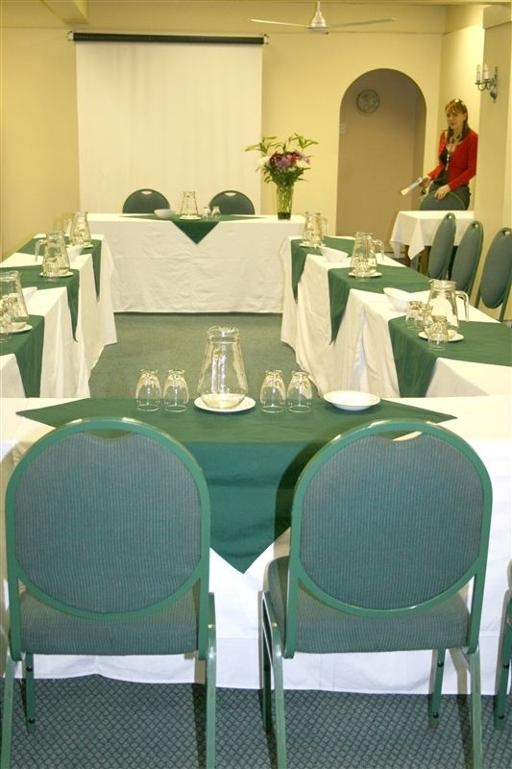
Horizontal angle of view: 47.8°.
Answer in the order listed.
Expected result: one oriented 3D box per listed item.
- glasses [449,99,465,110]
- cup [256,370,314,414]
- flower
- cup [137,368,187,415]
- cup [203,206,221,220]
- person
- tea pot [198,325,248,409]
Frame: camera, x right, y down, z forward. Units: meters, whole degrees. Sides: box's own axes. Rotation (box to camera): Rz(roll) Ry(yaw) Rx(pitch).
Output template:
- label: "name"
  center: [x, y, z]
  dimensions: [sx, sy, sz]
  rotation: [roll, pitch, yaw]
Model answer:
- label: "glasses"
  center: [2.150, -2.960, 6.156]
  dimensions: [0.119, 0.188, 0.183]
  rotation: [2, 18, 6]
- label: "cup"
  center: [0.079, 0.017, 1.479]
  dimensions: [0.127, 0.125, 0.080]
  rotation: [-2, 14, -3]
- label: "flower"
  center: [0.237, -1.931, 5.358]
  dimensions: [0.549, 0.781, 0.480]
  rotation: [-5, 5, -20]
- label: "cup"
  center: [-0.231, 0.016, 1.474]
  dimensions: [0.119, 0.121, 0.078]
  rotation: [-1, 14, -2]
- label: "cup"
  center: [-0.415, -1.630, 5.487]
  dimensions: [0.153, 0.182, 0.115]
  rotation: [-4, 23, -3]
- label: "person"
  center: [2.139, -2.245, 6.659]
  dimensions: [0.459, 1.854, 0.454]
  rotation: [-25, 43, -29]
- label: "tea pot"
  center: [-0.077, -0.049, 1.407]
  dimensions: [0.133, 0.256, 0.152]
  rotation: [2, 16, 0]
